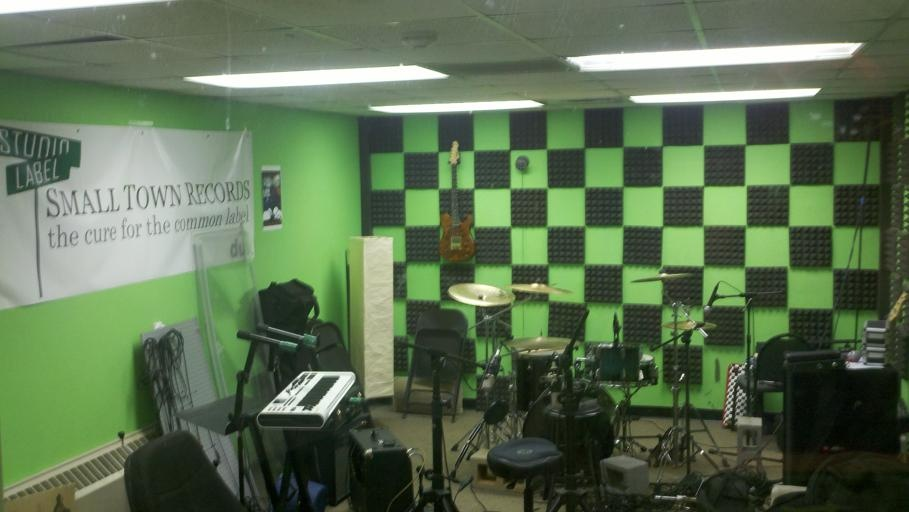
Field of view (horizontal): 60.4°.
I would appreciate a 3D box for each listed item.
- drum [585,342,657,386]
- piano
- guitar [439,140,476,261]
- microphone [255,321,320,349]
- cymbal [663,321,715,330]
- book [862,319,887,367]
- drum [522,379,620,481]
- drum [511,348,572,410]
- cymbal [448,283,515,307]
[{"bbox_3d":[1.881,1.175,8.698,0.543,0.245,0.695,0,-3,24],"label":"drum"},{"bbox_3d":[-1.368,1.400,7.245,0.628,0.485,0.956,1,2,9],"label":"piano"},{"bbox_3d":[0.039,-0.712,10.231,0.487,1.584,0.224,1,4,8],"label":"guitar"},{"bbox_3d":[-1.706,0.781,7.740,0.790,0.156,0.178,14,49,34],"label":"microphone"},{"bbox_3d":[2.628,0.761,8.590,0.278,0.046,0.261,2,-1,-18],"label":"cymbal"},{"bbox_3d":[4.163,0.866,7.676,0.248,0.363,0.394,1,1,18],"label":"book"},{"bbox_3d":[1.240,1.631,7.926,0.997,0.925,0.937,10,13,24],"label":"drum"},{"bbox_3d":[0.811,1.368,8.524,0.719,0.670,0.701,0,-3,23],"label":"drum"},{"bbox_3d":[0.301,0.452,9.033,0.717,0.239,0.451,1,2,2],"label":"cymbal"}]
